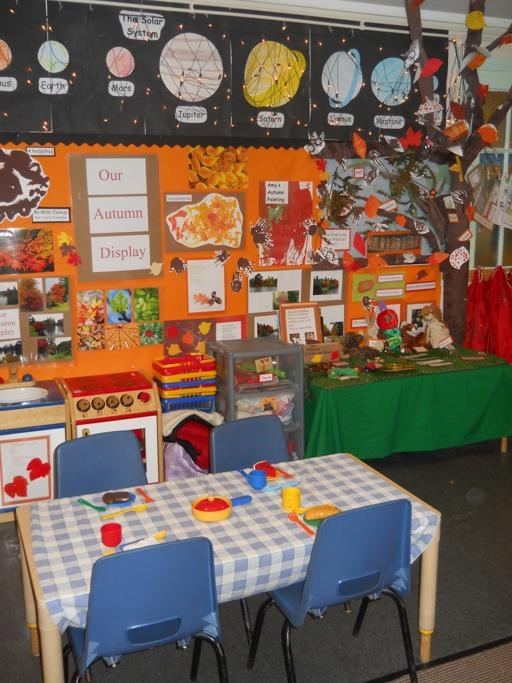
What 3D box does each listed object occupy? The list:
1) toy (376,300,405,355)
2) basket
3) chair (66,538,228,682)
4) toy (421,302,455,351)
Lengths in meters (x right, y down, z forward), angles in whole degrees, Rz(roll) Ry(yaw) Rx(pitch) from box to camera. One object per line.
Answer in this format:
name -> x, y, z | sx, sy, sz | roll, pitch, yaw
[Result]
toy -> 1.050, -0.107, 4.209 | 0.221, 0.357, 0.150 | -7, 4, 14
basket -> -0.451, 0.253, 3.341 | 0.426, 0.332, 0.344 | -2, 13, -8
chair -> -0.254, 0.659, 1.303 | 0.367, 0.440, 0.210 | -3, 9, -16
toy -> 1.489, -0.133, 4.337 | 0.243, 0.392, 0.273 | -18, 23, -18
